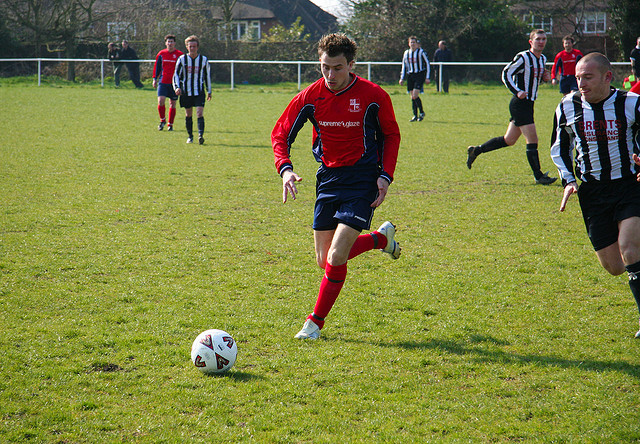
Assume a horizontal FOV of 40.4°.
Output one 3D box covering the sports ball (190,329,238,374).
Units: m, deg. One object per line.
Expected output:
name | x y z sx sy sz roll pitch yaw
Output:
sports ball | -1.147 1.355 9.060 0.423 0.436 0.417 -14 -19 -5

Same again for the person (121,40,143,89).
person | -6.402 -5.362 29.367 0.716 1.620 1.673 1 7 -13

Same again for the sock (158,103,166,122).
sock | -3.466 -2.378 18.844 0.125 0.380 0.390 1 7 -11

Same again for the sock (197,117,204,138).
sock | -2.416 -1.915 17.390 0.083 0.385 0.286 0 7 -15

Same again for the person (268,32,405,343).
person | 0.177 -0.401 9.579 1.334 3.334 0.631 2 6 0

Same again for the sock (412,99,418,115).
sock | 2.251 -2.782 20.849 0.126 0.357 0.351 3 7 4

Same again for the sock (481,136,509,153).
sock | 2.901 -1.317 14.473 0.219 0.268 0.565 -2 9 -31

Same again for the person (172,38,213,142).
person | -2.581 -2.648 17.394 0.742 2.041 0.747 1 7 -10

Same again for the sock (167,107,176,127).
sock | -3.269 -2.310 18.953 0.114 0.394 0.504 1 8 -11

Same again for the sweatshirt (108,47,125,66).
sweatshirt | -6.829 -5.548 28.792 0.429 0.572 0.700 3 7 5

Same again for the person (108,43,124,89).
person | -6.842 -5.208 28.841 0.380 1.444 0.870 2 7 -4

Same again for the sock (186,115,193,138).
sock | -2.658 -1.928 17.459 0.119 0.428 0.250 1 7 -9

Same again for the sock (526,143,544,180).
sock | 3.470 -0.997 14.099 0.225 0.598 0.455 6 8 32

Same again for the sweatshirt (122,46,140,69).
sweatshirt | -6.446 -5.553 29.232 0.449 0.710 0.650 3 7 7
